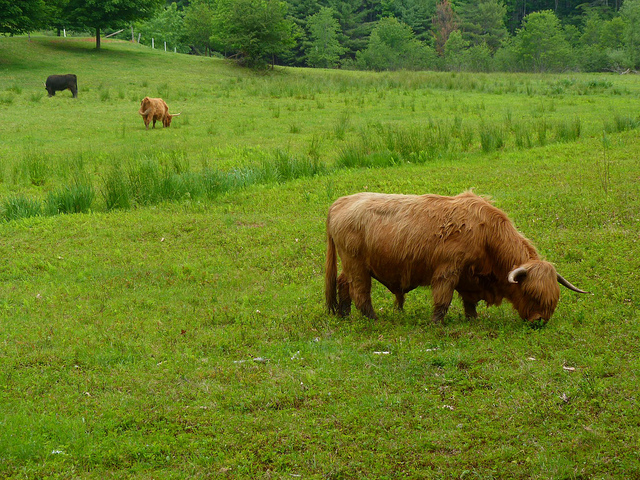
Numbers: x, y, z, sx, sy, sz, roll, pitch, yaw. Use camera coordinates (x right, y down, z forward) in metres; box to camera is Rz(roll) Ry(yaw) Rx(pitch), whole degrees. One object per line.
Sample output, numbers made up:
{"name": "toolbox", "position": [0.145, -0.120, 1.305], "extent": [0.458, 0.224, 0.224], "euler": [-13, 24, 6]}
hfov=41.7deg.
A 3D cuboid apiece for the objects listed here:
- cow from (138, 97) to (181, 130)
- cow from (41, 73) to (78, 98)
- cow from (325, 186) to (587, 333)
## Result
{"name": "cow", "position": [-5.247, -4.043, 26.923], "extent": [0.868, 1.008, 1.876], "euler": [7, 8, 17]}
{"name": "cow", "position": [-10.302, -6.190, 33.338], "extent": [1.753, 0.846, 0.876], "euler": [4, 10, 30]}
{"name": "cow", "position": [2.407, 0.210, 14.612], "extent": [4.210, 2.389, 2.093], "euler": [0, 8, 16]}
